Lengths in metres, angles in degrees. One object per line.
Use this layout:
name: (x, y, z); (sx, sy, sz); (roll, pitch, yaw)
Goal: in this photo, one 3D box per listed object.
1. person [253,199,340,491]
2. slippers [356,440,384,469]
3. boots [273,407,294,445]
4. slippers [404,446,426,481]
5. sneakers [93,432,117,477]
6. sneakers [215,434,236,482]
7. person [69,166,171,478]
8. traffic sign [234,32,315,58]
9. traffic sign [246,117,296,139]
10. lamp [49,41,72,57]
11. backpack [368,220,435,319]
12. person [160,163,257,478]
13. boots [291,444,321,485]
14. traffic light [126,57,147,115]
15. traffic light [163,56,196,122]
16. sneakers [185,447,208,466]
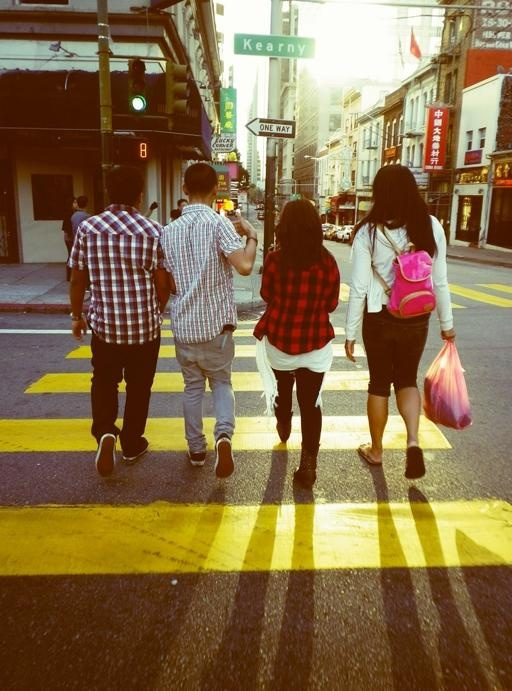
person: (0.202, -0.003, 3.548); (0.406, 1.687, 0.497); (-5, 11, -34)
slippers: (0.761, 0.739, 3.956); (0.075, 0.061, 0.166); (-1, 33, -17)
boots: (0.188, 0.536, 4.007); (0.087, 0.215, 0.285); (1, 17, 5)
slippers: (0.871, 0.662, 3.321); (0.096, 0.205, 0.181); (-3, -6, 6)
sneakers: (-0.883, 0.638, 3.483); (0.110, 0.280, 0.108); (4, -5, -20)
sneakers: (-0.180, 0.646, 3.355); (0.089, 0.252, 0.100); (-2, -1, -7)
person: (-0.841, -0.029, 3.670); (0.589, 1.646, 0.609); (-4, 10, -28)
traffic sign: (0.292, -5.240, 10.266); (1.389, 0.509, 0.589); (1, 10, 3)
traffic sign: (0.258, -3.749, 10.123); (0.918, 0.375, 0.430); (-4, 11, -24)
lamp: (-5.048, -7.738, 15.359); (0.634, 0.399, 0.142); (2, 9, 9)
backpack: (0.824, -0.404, 3.367); (0.371, 0.523, 0.236); (3, 9, 12)
person: (-0.249, 0.007, 3.523); (0.586, 1.658, 0.399); (9, 12, 44)
boots: (0.288, 0.740, 3.510); (0.096, 0.237, 0.226); (2, 8, -1)
traffic light: (-1.835, -4.052, 9.160); (0.253, 0.802, 0.417); (-1, 9, -10)
traffic light: (-1.276, -4.101, 9.662); (0.403, 0.972, 1.001); (-1, 10, -9)
sneakers: (-0.383, 0.733, 3.823); (0.066, 0.069, 0.145); (1, 14, -1)
